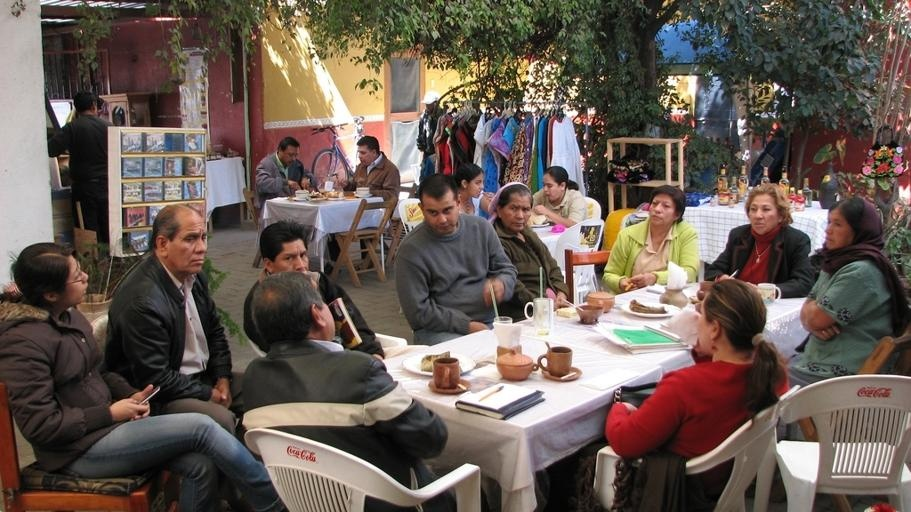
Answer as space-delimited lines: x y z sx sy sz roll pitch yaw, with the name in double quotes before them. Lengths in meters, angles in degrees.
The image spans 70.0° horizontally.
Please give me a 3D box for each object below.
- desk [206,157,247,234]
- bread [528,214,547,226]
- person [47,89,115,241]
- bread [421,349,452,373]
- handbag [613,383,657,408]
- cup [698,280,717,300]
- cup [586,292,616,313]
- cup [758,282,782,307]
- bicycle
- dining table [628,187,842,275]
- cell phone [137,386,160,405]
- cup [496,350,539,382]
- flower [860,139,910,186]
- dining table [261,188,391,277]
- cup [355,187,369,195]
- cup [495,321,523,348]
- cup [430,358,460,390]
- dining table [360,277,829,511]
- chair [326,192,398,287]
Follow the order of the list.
"desk" -4.448 -1.317 12.667 1.030 1.132 1.161 -6 13 -8
"bread" 0.981 -0.418 7.606 0.171 0.051 0.170 -2 14 -18
"person" -4.379 -1.067 7.706 0.545 1.809 0.901 0 6 -2
"bread" -0.122 0.685 4.237 0.119 0.114 0.161 -5 6 -38
"handbag" 1.104 0.861 4.038 0.180 0.071 0.179 6 9 35
"cup" 1.737 0.237 4.466 0.139 0.131 0.139 -2 16 1
"cup" 1.122 0.345 5.040 0.169 0.143 0.170 3 4 0
"cup" 2.432 0.302 5.008 0.272 0.188 0.174 1 1 16
"bicycle" -2.279 -2.209 13.940 0.860 1.213 1.945 -4 18 29
"dining table" 3.421 -0.386 7.873 1.350 0.684 1.335 -12 16 -42
"cell phone" -2.042 0.942 4.328 0.158 0.030 0.096 -30 -5 22
"cup" 0.394 0.667 4.173 0.217 0.118 0.168 5 15 18
"flower" 4.612 -1.025 7.006 0.504 0.465 0.156 9 -4 23
"dining table" -1.980 -0.475 9.272 1.229 0.696 1.269 15 20 41
"cup" -1.332 -0.943 9.468 0.144 0.088 0.136 1 5 0
"cup" 0.339 0.502 4.417 0.177 0.198 0.170 -5 14 1
"cup" -0.051 0.752 4.073 0.172 0.184 0.271 0 5 -4
"dining table" 0.438 0.880 4.231 1.062 0.470 1.961 11 18 42
"chair" -1.371 -0.233 9.207 0.763 1.222 0.719 10 12 24
